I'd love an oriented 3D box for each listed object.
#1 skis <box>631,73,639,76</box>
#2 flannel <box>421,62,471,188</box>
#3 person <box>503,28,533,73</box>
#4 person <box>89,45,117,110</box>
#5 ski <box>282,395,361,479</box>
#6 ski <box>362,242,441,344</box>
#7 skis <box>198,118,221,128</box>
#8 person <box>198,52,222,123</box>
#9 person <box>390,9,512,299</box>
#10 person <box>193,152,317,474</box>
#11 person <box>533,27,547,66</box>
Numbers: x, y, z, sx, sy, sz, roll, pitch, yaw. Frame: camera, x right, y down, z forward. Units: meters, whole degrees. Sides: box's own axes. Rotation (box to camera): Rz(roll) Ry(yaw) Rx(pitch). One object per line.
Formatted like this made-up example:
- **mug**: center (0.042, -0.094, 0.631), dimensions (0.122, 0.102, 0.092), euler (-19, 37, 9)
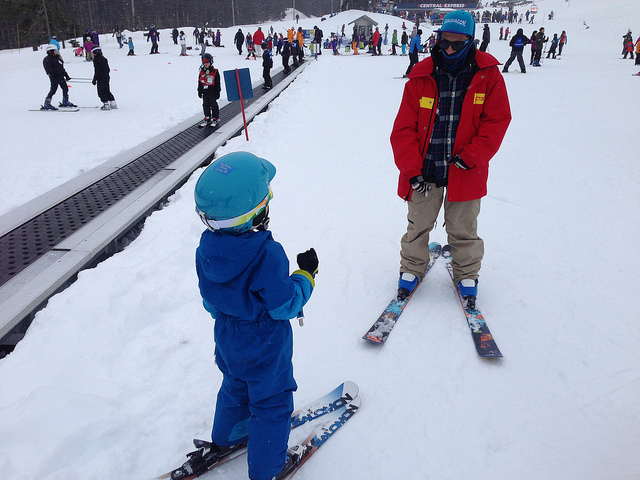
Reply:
- **skis**: center (8.346, -4.358, 12.726), dimensions (0.170, 0.018, 0.445), euler (16, 32, 26)
- **flannel**: center (0.987, -0.898, 3.788), dimensions (0.276, 0.909, 0.254), euler (8, 27, 16)
- **person**: center (5.605, -5.304, 13.658), dimensions (0.646, 1.264, 0.344), euler (9, -4, 18)
- **person**: center (-4.977, -3.712, 10.927), dimensions (0.435, 1.360, 1.549), euler (-11, 29, -21)
- **ski**: center (0.010, 1.300, 3.125), dimensions (0.118, 0.064, 0.835), euler (35, 52, 17)
- **ski**: center (0.708, 0.479, 4.113), dimensions (0.121, 0.079, 1.189), euler (1, 35, 32)
- **skis**: center (-2.123, -2.229, 9.244), dimensions (0.413, 0.195, 0.141), euler (-2, 36, -12)
- **person**: center (-2.182, -2.985, 9.470), dimensions (0.446, 1.216, 0.972), euler (-6, 27, -12)
- **person**: center (0.994, -0.614, 3.869), dimensions (0.889, 2.192, 0.613), euler (11, 27, 20)
- **person**: center (-0.403, 0.446, 2.832), dimensions (0.687, 1.763, 0.638), euler (19, 31, 34)
- **person**: center (7.060, -6.226, 15.514), dimensions (0.251, 1.127, 1.084), euler (10, 28, 21)
